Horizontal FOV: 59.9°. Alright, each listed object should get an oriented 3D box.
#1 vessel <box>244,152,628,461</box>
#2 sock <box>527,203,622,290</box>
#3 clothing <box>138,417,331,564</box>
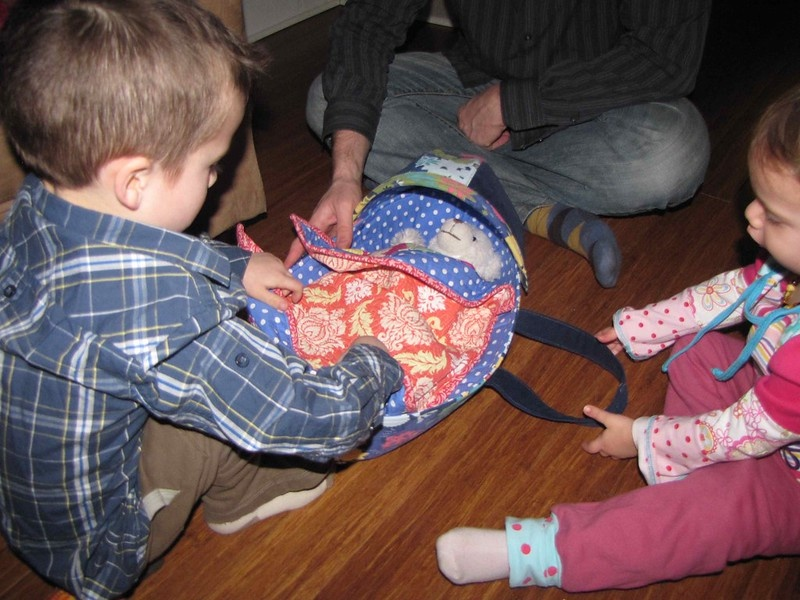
[{"bbox_3d":[0.082,0.137,1.828,0.893,0.345,0.671,24,77,19],"label":"vessel"},{"bbox_3d":[0.467,-0.156,1.829,0.069,0.160,0.268,-5,37,-34],"label":"sock"},{"bbox_3d":[-0.324,0.355,1.366,0.304,0.125,0.264,-16,58,-48],"label":"clothing"}]
